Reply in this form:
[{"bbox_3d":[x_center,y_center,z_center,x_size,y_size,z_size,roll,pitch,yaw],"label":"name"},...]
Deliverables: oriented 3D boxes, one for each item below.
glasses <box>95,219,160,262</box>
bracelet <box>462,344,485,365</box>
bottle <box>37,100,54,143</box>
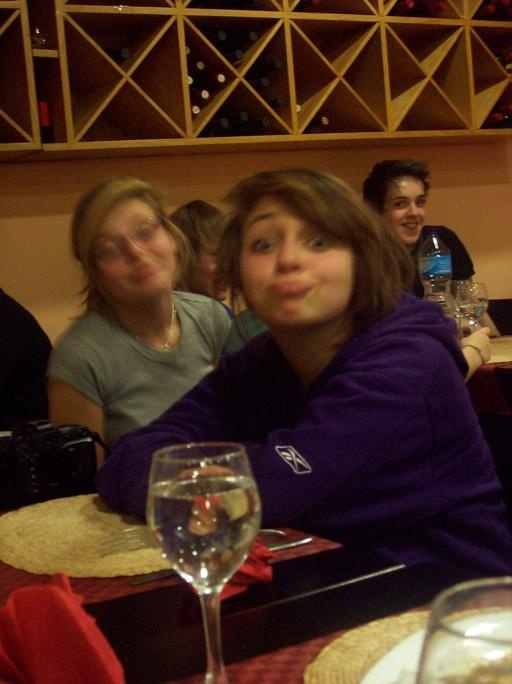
[{"bbox_3d":[-0.370,-0.286,1.601,0.117,0.056,0.148,-27,-6,-21],"label":"glasses"},{"bbox_3d":[0.577,0.036,1.495,0.015,0.058,0.054,-55,14,32],"label":"bracelet"},{"bbox_3d":[-0.950,-1.002,2.557,0.048,0.208,0.062,-5,-3,5],"label":"bottle"}]
